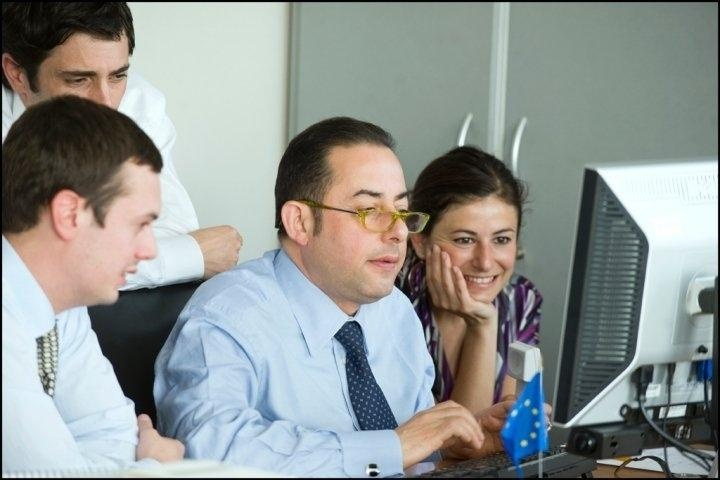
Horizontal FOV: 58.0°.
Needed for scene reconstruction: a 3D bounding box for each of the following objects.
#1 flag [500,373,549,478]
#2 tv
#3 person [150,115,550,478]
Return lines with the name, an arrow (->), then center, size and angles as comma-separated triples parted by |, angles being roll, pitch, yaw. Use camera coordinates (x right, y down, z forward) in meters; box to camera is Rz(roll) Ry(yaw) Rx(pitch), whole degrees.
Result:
flag -> 0.344, 0.381, 1.326 | 0.125, 0.211, 0.066 | -6, 3, -29
tv -> 0.632, 0.158, 1.472 | 0.418, 0.664, 0.069 | -5, 3, -12
person -> -0.072, 0.243, 1.938 | 0.966, 0.922, 1.098 | -2, -7, 34
